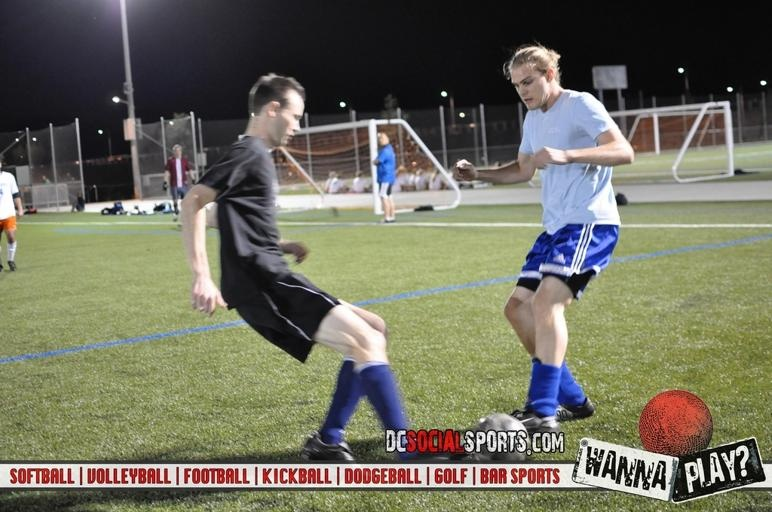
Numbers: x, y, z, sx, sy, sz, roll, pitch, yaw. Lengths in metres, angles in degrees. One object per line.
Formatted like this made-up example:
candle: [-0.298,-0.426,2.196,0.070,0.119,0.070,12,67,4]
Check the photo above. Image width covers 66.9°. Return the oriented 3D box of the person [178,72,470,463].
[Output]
person: [-0.472,0.080,2.982,1.114,2.044,0.565,-2,9,14]

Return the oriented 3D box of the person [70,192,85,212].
person: [-15.511,-2.688,29.345,0.551,0.960,1.270,-9,10,-29]

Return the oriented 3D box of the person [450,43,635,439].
person: [0.933,-0.113,3.500,0.952,2.223,0.952,1,-2,-1]

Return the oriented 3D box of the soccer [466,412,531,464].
soccer: [0.590,0.933,3.092,0.433,0.192,0.230,-2,-1,-1]

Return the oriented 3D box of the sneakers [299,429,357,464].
sneakers: [-0.303,0.976,2.977,0.314,0.122,0.113,3,-2,14]

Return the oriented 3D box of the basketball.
basketball: [1.397,0.807,2.808,0.282,0.258,0.146,-6,9,-9]
